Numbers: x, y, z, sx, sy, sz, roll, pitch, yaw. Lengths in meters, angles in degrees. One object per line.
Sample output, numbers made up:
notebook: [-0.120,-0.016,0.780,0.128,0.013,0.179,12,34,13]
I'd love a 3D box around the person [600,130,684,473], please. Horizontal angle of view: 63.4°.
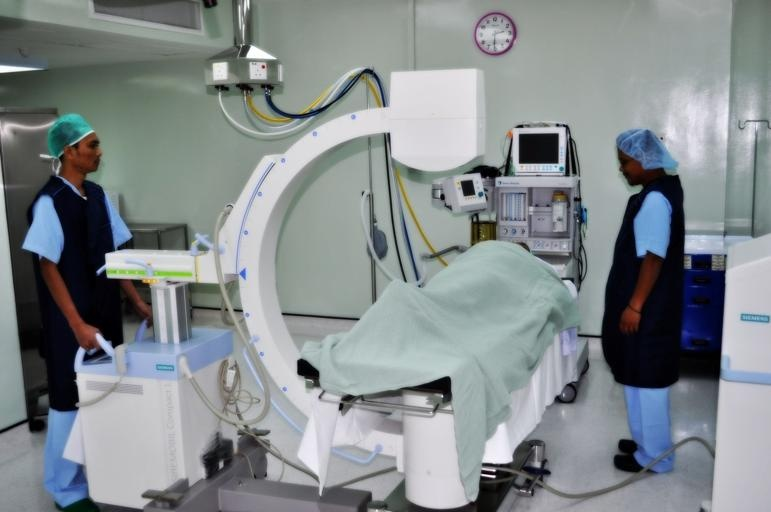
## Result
person: [1.580,0.295,3.844,0.454,2.127,0.470,2,9,24]

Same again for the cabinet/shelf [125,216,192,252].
cabinet/shelf: [-2.374,-0.199,6.541,0.443,0.441,0.438,-1,2,-11]

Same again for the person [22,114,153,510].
person: [-1.767,0.335,3.677,0.602,2.313,0.655,-8,10,-36]

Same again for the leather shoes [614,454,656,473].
leather shoes: [1.569,1.306,3.927,0.243,0.106,0.085,3,16,20]

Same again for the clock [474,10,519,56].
clock: [0.983,-1.994,5.619,0.363,0.357,0.055,5,21,20]

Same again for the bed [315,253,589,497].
bed: [0.430,0.313,3.369,0.925,0.690,1.470,9,30,29]
